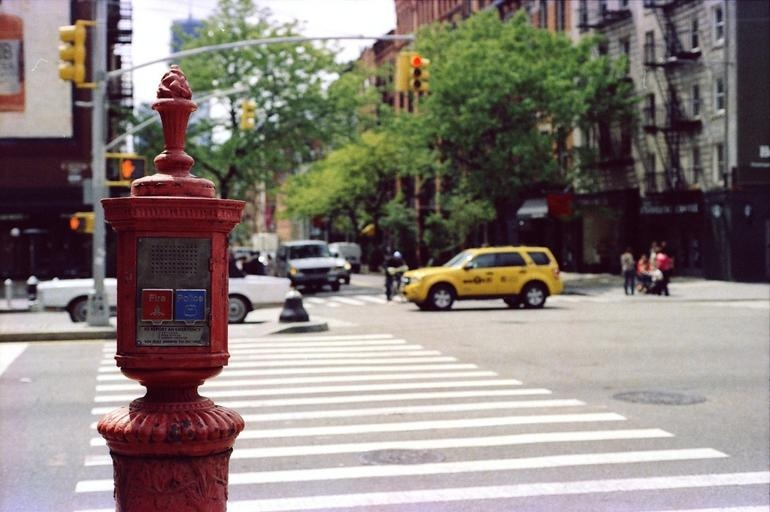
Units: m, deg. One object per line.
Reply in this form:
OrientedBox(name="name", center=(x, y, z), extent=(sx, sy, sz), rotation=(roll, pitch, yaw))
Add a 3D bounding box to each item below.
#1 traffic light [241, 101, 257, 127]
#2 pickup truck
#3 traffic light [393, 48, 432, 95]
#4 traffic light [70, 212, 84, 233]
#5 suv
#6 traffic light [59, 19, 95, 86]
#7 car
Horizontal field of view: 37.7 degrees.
OrientedBox(name="traffic light", center=(-3.674, -3.817, 30.318), extent=(0.350, 0.701, 1.052), rotation=(-2, 9, -10))
OrientedBox(name="pickup truck", center=(-5.725, 0.897, 29.212), extent=(5.293, 1.898, 2.411), rotation=(2, -5, -13))
OrientedBox(name="traffic light", center=(0.450, -3.846, 23.580), extent=(0.809, 0.930, 0.799), rotation=(-2, 4, -42))
OrientedBox(name="traffic light", center=(-8.186, -0.919, 30.060), extent=(0.248, 0.491, 1.107), rotation=(-4, 10, -20))
OrientedBox(name="suv", center=(2.576, 0.325, 29.830), extent=(3.691, 1.568, 1.849), rotation=(2, -4, -14))
OrientedBox(name="traffic light", center=(-5.913, -3.906, 21.703), extent=(0.668, 1.293, 0.376), rotation=(-1, 21, -17))
OrientedBox(name="car", center=(-2.020, 0.187, 30.591), extent=(1.270, 1.104, 3.342), rotation=(0, -3, -19))
